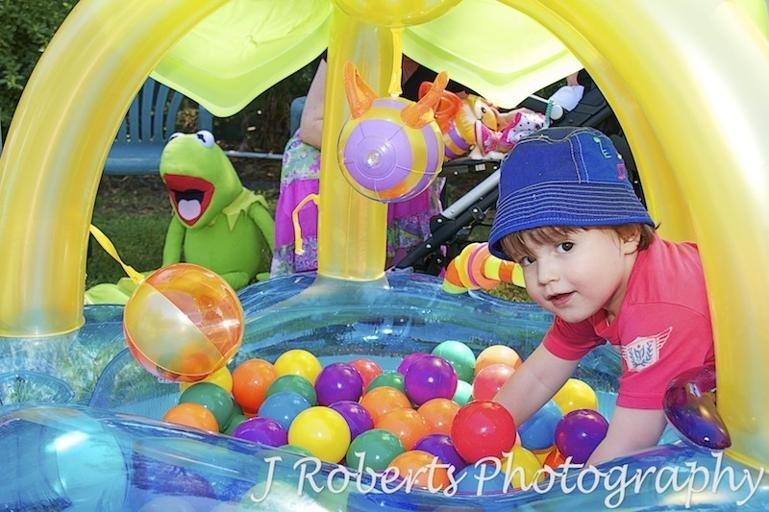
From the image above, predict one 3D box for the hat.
[{"bbox_3d":[0.489,-0.154,1.619,0.341,0.217,0.313,-9,0,18],"label":"hat"}]
